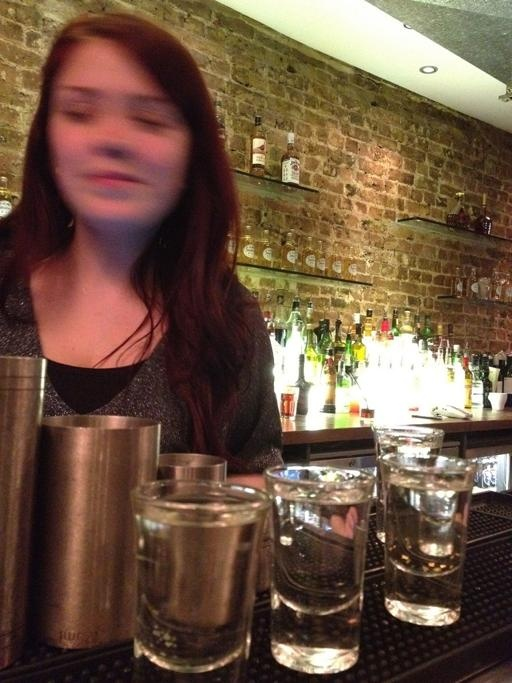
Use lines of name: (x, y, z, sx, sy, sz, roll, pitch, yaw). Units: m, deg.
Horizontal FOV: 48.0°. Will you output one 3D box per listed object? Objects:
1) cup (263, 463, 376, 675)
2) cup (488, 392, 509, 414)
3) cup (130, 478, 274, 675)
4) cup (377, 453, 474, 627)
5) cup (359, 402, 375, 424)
cup: (0.047, 0.163, 0.416, 0.079, 0.134, 0.076, 0, 4, 0)
cup: (1.441, 0.366, 3.432, 0.118, 0.119, 0.117, 1, -12, 0)
cup: (-0.030, 0.137, 0.362, 0.093, 0.097, 0.090, 1, -4, 0)
cup: (0.148, 0.170, 0.494, 0.076, 0.132, 0.058, 1, 4, 12)
cup: (0.471, 0.305, 2.454, 0.084, 0.103, 0.067, 1, 3, -1)
